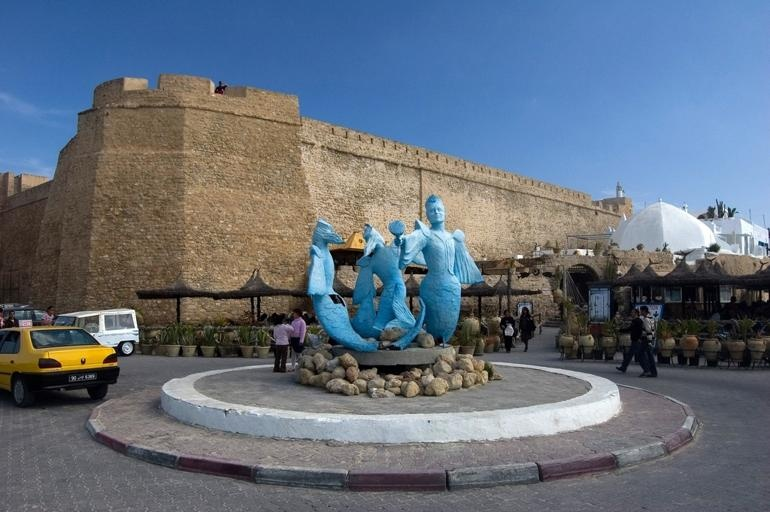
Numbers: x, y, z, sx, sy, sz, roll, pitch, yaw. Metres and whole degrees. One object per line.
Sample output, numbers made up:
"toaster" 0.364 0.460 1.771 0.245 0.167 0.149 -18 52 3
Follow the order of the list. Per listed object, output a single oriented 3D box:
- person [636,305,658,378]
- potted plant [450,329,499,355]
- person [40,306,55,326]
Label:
"person" 6.690 2.161 15.133 0.428 1.737 0.839 -4 -5 24
"potted plant" 3.093 3.071 19.919 1.560 0.518 1.108 -2 -1 -8
"person" -10.911 1.941 19.253 0.255 0.543 0.892 2 -6 -35
